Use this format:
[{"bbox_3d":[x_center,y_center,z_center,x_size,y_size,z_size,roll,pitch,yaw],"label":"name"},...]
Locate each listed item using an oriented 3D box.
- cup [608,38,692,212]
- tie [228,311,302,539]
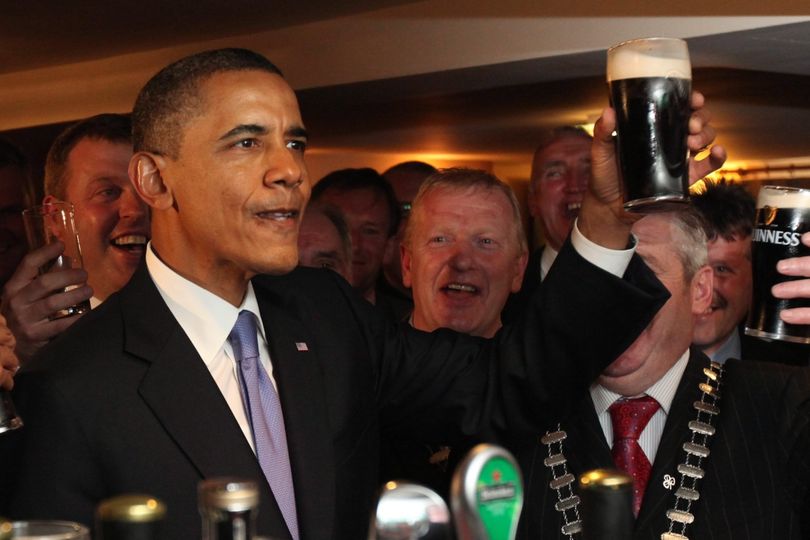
[{"bbox_3d":[0.660,-0.392,2.121,0.213,0.446,0.155,-3,3,17],"label":"cup"},{"bbox_3d":[-0.399,0.429,2.232,0.119,0.630,0.195,-5,3,-24],"label":"tie"}]
